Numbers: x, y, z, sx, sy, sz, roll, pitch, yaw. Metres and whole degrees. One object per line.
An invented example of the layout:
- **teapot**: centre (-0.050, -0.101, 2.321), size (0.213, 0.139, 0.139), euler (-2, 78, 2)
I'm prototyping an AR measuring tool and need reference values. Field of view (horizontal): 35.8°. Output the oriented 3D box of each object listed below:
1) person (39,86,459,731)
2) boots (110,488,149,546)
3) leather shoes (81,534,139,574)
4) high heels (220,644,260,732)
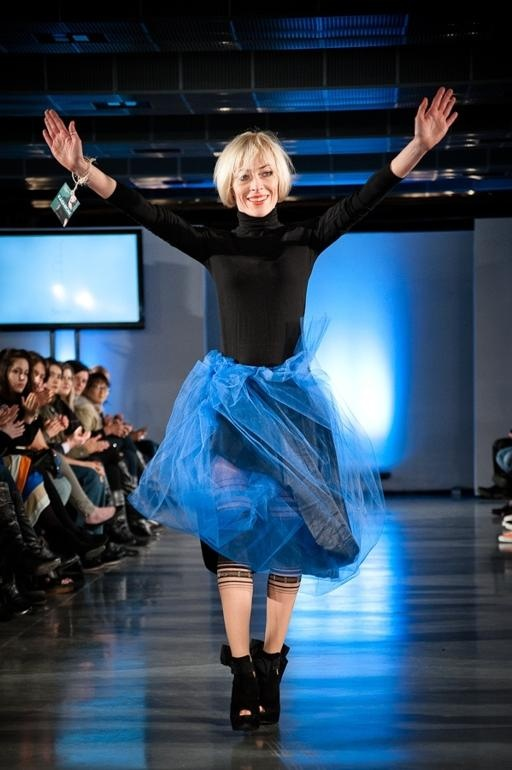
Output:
- **person**: centre (0.012, 0.060, 1.840), size (0.809, 1.425, 0.286), euler (-1, -3, -7)
- **boots**: centre (-0.800, 0.758, 4.722), size (0.162, 0.287, 0.435), euler (-25, 3, -19)
- **leather shoes**: centre (-0.732, 0.828, 3.874), size (0.112, 0.119, 0.309), euler (2, 2, 19)
- **high heels**: centre (-0.027, 0.671, 1.724), size (0.064, 0.184, 0.101), euler (-1, -3, -2)
